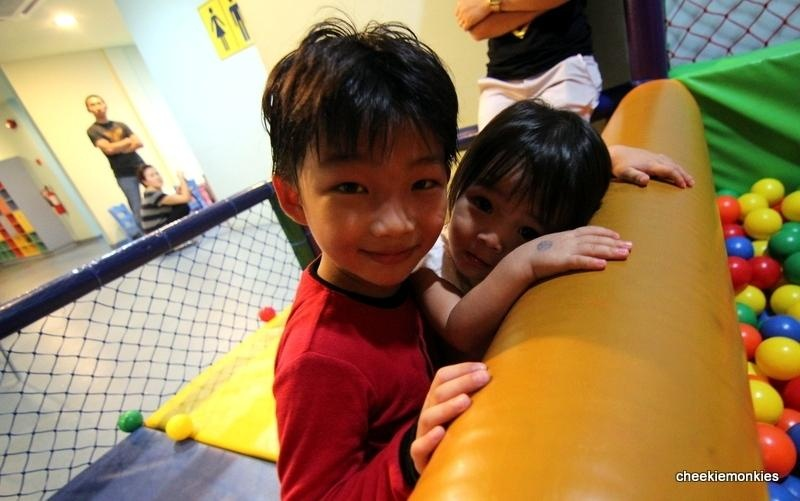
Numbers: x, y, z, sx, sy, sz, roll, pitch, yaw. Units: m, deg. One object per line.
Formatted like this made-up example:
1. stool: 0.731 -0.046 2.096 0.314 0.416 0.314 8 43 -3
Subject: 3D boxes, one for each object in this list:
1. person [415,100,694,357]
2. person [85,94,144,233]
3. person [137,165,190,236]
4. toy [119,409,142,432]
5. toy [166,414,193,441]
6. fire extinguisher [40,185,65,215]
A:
1. person: 0.489 -0.151 2.183 1.071 1.104 0.519 7 14 -6
2. person: -2.696 -0.874 5.210 0.431 1.288 0.751 -21 23 -25
3. person: -2.169 -0.487 4.863 0.449 0.559 0.773 -25 24 -31
4. toy: -1.434 0.907 2.872 0.095 0.102 0.129 -18 -9 6
5. toy: -1.131 0.908 2.717 0.149 0.114 0.072 -11 20 1
6. fire extinguisher: -4.825 -0.708 7.450 0.268 0.377 0.098 -42 -3 0
